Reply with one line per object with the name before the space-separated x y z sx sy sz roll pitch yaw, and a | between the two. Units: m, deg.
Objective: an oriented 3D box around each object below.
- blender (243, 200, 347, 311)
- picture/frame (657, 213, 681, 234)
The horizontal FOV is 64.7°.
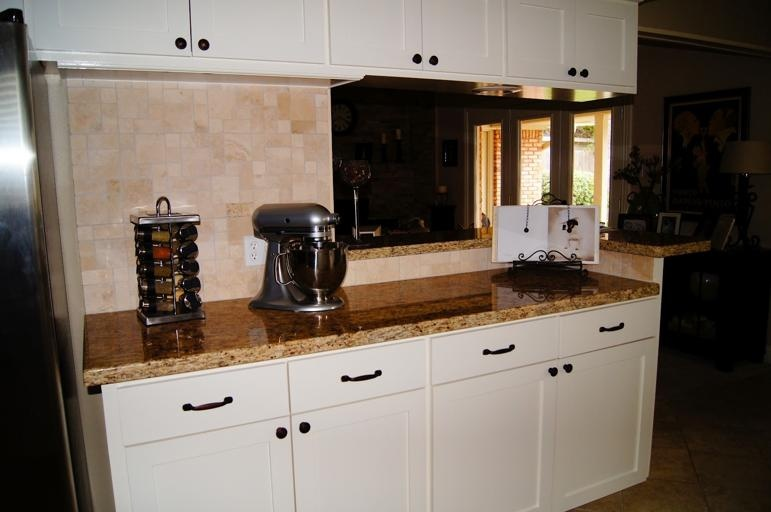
blender | -0.394 -0.004 2.842 0.470 0.478 0.313 -1 7 12
picture/frame | 2.535 -0.301 5.442 0.163 0.170 0.198 -10 15 -33
